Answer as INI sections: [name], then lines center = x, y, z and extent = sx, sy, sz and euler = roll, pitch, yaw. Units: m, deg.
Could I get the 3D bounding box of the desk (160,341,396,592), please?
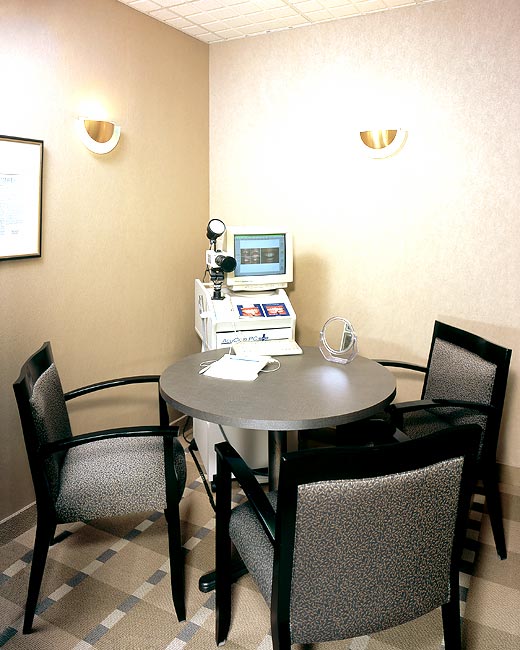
[desk]
center = 0.088, 0.497, 2.135
extent = 0.651, 0.486, 0.654
euler = -2, 15, -5

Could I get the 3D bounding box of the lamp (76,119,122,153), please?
[lamp]
center = -0.779, -0.944, 2.675
extent = 0.098, 0.159, 0.303
euler = 4, 13, 16
